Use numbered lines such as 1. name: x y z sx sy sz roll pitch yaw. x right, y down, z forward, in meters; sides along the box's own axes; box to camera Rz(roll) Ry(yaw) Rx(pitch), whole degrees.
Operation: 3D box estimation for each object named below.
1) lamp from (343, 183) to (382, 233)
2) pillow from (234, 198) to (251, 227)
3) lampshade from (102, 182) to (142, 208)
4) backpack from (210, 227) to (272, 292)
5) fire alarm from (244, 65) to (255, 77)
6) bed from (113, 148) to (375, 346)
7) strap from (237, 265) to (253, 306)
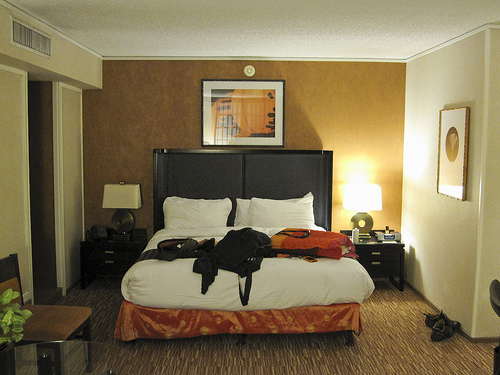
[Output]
1. lamp: 1.587 0.342 5.500 0.539 0.668 0.555 7 -11 5
2. pillow: -0.108 0.334 5.384 0.264 0.306 0.093 -2 -14 24
3. lampshade: -1.739 0.095 5.554 0.533 0.382 0.423 -2 -3 8
4. backpack: -0.068 0.661 4.162 0.501 0.240 0.649 -7 29 12
5. fire alarm: -0.006 -1.625 5.492 0.150 0.151 0.059 0 14 -1
6. bed: -0.058 0.544 4.769 2.560 1.767 1.981 0 13 -1
7. strap: -0.051 0.974 3.955 0.159 0.348 0.186 0 14 0
